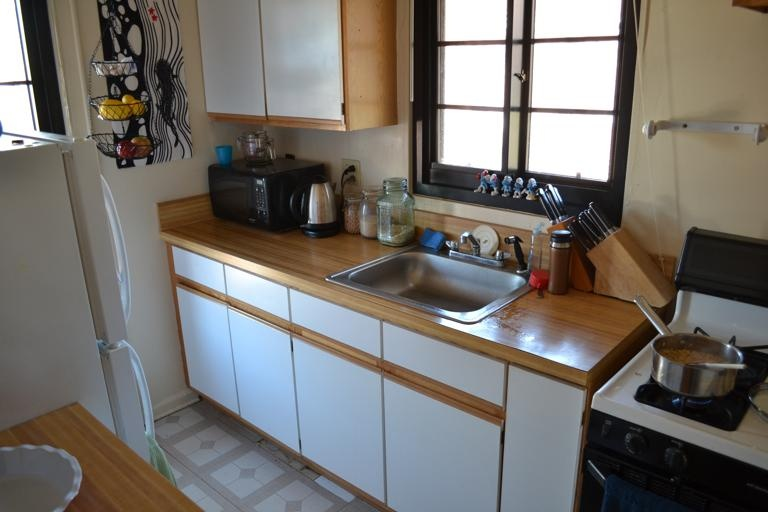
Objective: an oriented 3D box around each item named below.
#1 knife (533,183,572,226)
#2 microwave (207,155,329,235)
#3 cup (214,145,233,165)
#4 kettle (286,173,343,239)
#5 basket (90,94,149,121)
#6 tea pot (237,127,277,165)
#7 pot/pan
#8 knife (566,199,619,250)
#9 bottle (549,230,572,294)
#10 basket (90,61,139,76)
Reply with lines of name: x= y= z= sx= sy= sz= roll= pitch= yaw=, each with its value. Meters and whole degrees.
knife: x=0.774 y=-0.237 z=2.477 sx=0.147 sy=0.154 sz=0.144 roll=11 pitch=23 yaw=28
microwave: x=-0.696 y=-0.386 z=3.196 sx=0.627 sy=0.352 sz=0.448 roll=20 pitch=28 yaw=40
cup: x=-0.962 y=-0.628 z=3.434 sx=0.117 sy=0.126 sz=0.116 roll=3 pitch=22 yaw=-1
kettle: x=-0.378 y=-0.308 z=3.156 sx=0.329 sy=0.338 sz=0.257 roll=-12 pitch=26 yaw=-20
basket: x=-1.299 y=-0.733 z=2.736 sx=0.232 sy=0.079 sz=0.233 roll=14 pitch=21 yaw=37
tea pot: x=-0.745 y=-0.655 z=3.253 sx=0.212 sy=0.182 sz=0.186 roll=-8 pitch=19 yaw=-17
pot/pan: x=0.989 y=0.269 z=1.918 sx=0.248 sy=0.162 sz=0.416 roll=-19 pitch=28 yaw=-21
knife: x=0.872 y=-0.128 z=2.346 sx=0.236 sy=0.129 sz=0.087 roll=47 pitch=16 yaw=10
bottle: x=0.758 y=0.028 z=2.384 sx=0.094 sy=0.276 sz=0.056 roll=5 pitch=20 yaw=14
basket: x=-1.293 y=-0.930 z=2.725 sx=0.144 sy=0.048 sz=0.146 roll=13 pitch=24 yaw=28
